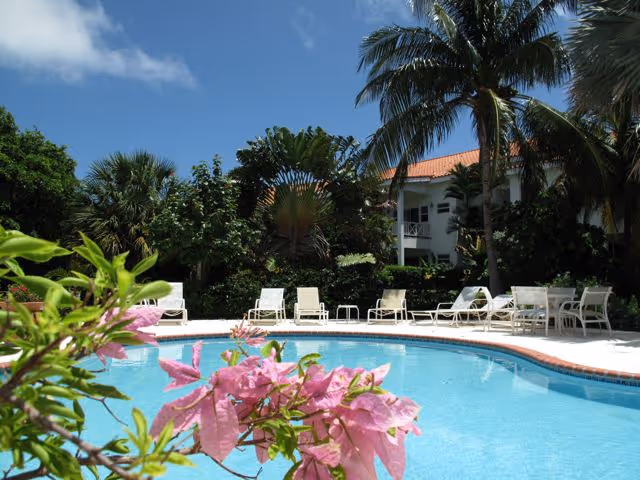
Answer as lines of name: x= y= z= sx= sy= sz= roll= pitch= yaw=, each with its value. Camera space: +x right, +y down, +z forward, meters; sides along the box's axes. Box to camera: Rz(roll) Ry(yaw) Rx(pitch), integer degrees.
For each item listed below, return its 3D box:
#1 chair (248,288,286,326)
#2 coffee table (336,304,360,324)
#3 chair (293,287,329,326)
chair: x=-1.372 y=1.776 z=12.664 sx=0.783 sy=0.908 sz=1.090 roll=3 pitch=-6 yaw=5
coffee table: x=0.832 y=2.132 z=14.226 sx=0.647 sy=0.551 sz=0.679 roll=0 pitch=-9 yaw=-1
chair: x=-0.266 y=1.753 z=12.658 sx=0.746 sy=1.005 sz=1.050 roll=0 pitch=-5 yaw=-11
